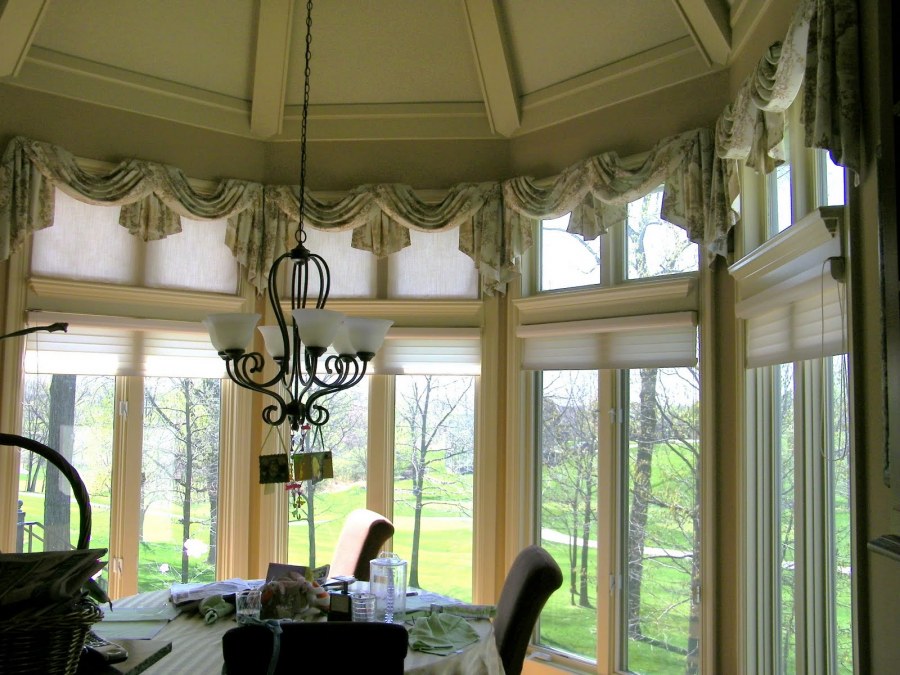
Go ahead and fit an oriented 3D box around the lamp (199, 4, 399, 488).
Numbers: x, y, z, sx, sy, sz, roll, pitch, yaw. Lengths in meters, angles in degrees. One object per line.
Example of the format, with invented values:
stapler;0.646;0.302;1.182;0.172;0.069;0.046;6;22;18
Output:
lamp;-0.790;-0.595;4.784;0.979;2.909;2.460;2;-12;-13

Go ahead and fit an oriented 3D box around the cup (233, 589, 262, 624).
cup;-0.847;1.121;3.556;0.142;0.194;0.146;-2;-15;-1

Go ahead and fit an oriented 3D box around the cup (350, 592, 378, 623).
cup;-0.365;1.138;3.586;0.107;0.136;0.117;0;-2;0

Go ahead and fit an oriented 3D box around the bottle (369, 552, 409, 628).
bottle;-0.272;1.113;3.731;0.253;0.376;0.208;2;-12;-10
